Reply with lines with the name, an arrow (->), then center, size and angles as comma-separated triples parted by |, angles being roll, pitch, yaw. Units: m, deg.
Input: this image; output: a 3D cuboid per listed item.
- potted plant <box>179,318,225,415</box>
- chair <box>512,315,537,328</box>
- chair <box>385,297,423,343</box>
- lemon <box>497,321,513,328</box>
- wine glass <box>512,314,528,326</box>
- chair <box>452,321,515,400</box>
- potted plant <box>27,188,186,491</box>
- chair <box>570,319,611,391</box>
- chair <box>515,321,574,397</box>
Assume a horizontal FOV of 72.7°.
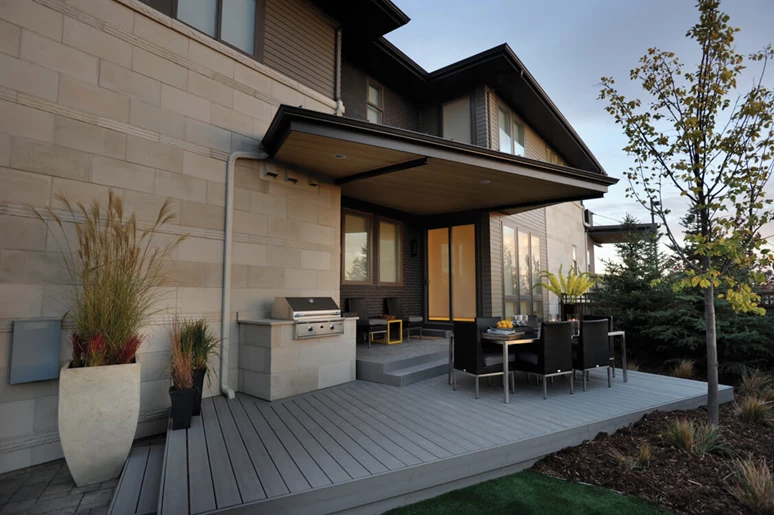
potted plant -> -2.782, 1.573, 7.550 | 0.611, 1.162, 0.600 | 1, -7, 22
chair -> 2.277, 1.086, 8.777 | 0.336, 0.224, 0.346 | 0, 0, 43
chair -> 0.366, 1.354, 11.590 | 0.881, 1.210, 0.808 | -2, -3, 38
lemon -> 1.970, 1.124, 8.679 | 0.141, 0.088, 0.152 | 0, -3, 22
wine glass -> 2.178, 1.100, 8.625 | 0.166, 0.236, 0.316 | -2, -4, 32
chair -> 1.429, 1.663, 8.297 | 0.571, 0.828, 0.583 | -4, 2, -37
potted plant -> -3.513, 0.932, 6.783 | 1.865, 3.825, 1.136 | 4, -8, -37
chair -> 3.309, 1.657, 8.456 | 0.600, 0.882, 0.643 | 5, -24, -26
chair -> 2.444, 1.635, 8.284 | 0.567, 1.001, 0.742 | 6, -5, -21
